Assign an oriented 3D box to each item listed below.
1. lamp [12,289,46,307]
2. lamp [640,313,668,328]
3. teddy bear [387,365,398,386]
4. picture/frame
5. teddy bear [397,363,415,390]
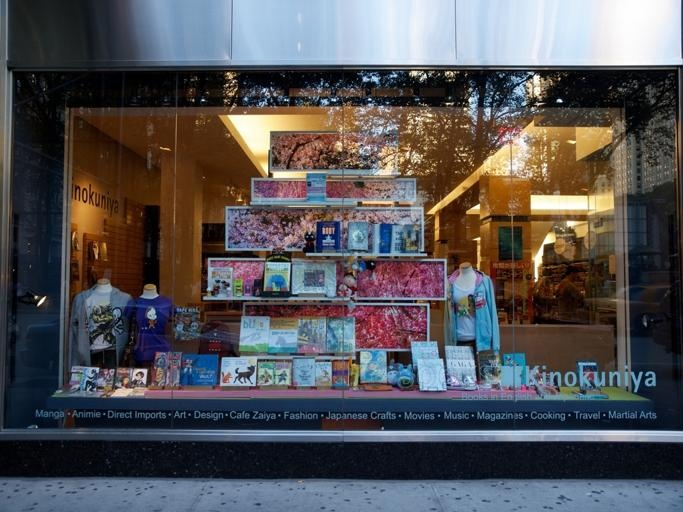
[{"bbox_3d":[-3.151,0.419,6.108,0.216,0.122,0.127,14,4,0],"label":"lamp"},{"bbox_3d":[3.116,0.653,6.054,0.174,0.117,0.101,-2,-51,-4],"label":"lamp"},{"bbox_3d":[0.512,1.226,6.099,0.107,0.155,0.054,-2,-17,10],"label":"teddy bear"},{"bbox_3d":[-0.169,-0.059,6.306,2.285,2.038,0.102,1,-4,-2],"label":"picture/frame"},{"bbox_3d":[0.648,1.217,6.092,0.126,0.093,0.224,-2,36,4],"label":"teddy bear"}]
